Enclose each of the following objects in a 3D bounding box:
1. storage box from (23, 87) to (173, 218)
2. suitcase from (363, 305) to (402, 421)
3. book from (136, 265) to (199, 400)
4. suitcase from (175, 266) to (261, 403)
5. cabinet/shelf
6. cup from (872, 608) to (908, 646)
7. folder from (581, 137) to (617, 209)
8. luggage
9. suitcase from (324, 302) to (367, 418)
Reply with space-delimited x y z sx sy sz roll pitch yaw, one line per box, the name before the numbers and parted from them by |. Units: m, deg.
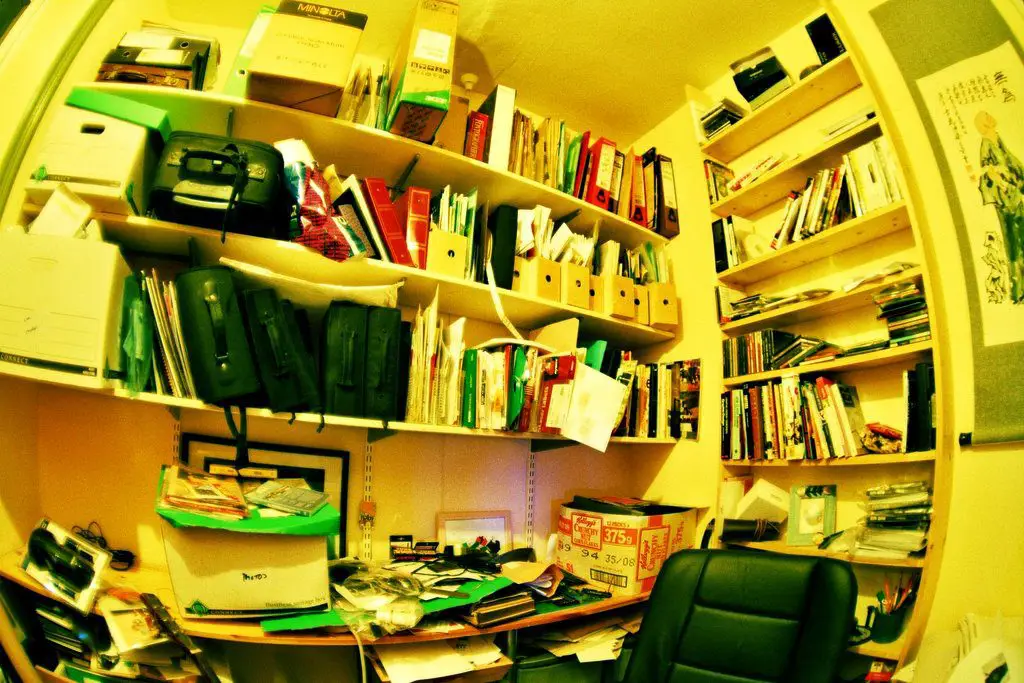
storage box | -1.543 -0.760 2.938 0.304 0.278 0.317 3 7 18
suitcase | -0.534 0.086 3.087 0.191 0.432 0.499 3 -1 -14
book | -1.303 -0.007 2.874 0.137 0.408 0.325 -5 7 -27
suitcase | -1.122 -0.026 2.874 0.336 0.504 0.101 9 -15 -23
cabinet/shelf | -0.734 -0.298 3.148 1.931 0.675 0.487 11 -16 -27
cup | 1.463 1.115 2.950 0.157 0.091 0.085 2 6 -39
folder | 0.431 -0.831 3.772 0.118 0.280 0.303 9 -29 7
luggage | -1.153 -0.583 3.081 0.549 0.373 0.379 6 0 -8
suitcase | -0.725 0.070 3.293 0.202 0.459 0.512 4 2 -14
